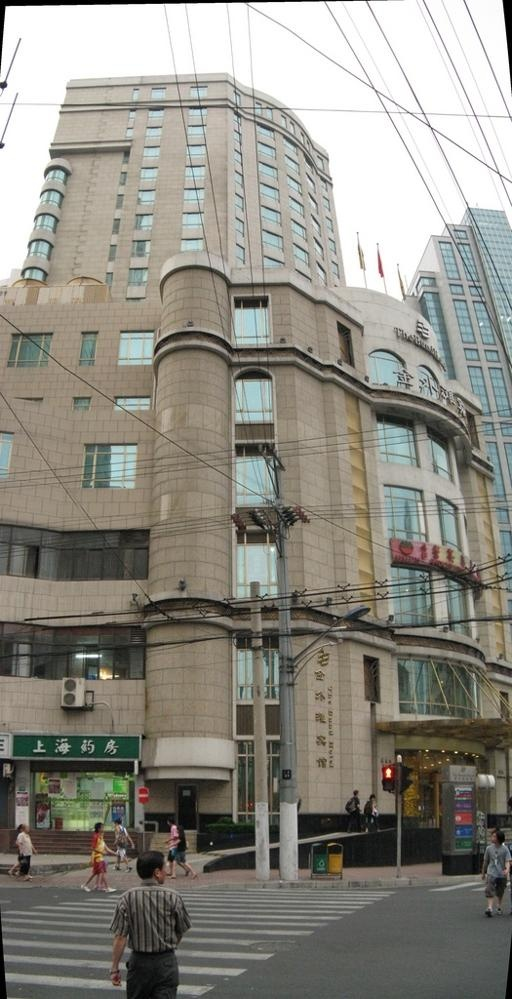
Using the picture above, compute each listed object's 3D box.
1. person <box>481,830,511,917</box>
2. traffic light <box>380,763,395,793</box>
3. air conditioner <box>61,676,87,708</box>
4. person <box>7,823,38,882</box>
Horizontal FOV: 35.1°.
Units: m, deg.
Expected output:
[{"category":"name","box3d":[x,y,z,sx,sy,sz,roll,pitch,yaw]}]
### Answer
[{"category":"person","box3d":[4.113,6.375,13.848,0.527,1.279,2.271,-7,-21,13]},{"category":"traffic light","box3d":[4.121,8.617,25.155,0.381,0.793,0.878,-11,-22,23]},{"category":"air conditioner","box3d":[-8.394,8.849,36.959,0.923,1.488,0.768,0,-32,-3]},{"category":"person","box3d":[-6.693,10.005,22.992,0.601,1.414,3.458,3,-22,-16]}]
